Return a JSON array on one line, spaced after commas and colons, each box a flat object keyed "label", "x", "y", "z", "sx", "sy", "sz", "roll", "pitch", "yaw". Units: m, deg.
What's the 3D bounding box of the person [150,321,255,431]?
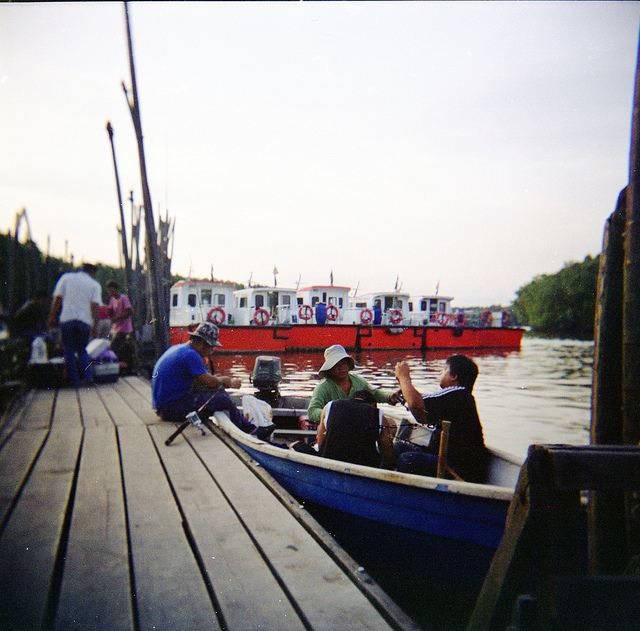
[{"label": "person", "x": -1.091, "y": 0.532, "z": 5.071, "sx": 0.614, "sy": 0.931, "sz": 1.076, "roll": 4, "pitch": 0, "yaw": -41}]

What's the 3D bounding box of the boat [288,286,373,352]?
[{"label": "boat", "x": 0.306, "y": 0.100, "z": 23.592, "sx": 3.581, "sy": 2.239, "sz": 2.082, "roll": -4, "pitch": 4, "yaw": -44}]

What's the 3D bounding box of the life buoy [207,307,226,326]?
[{"label": "life buoy", "x": -3.910, "y": 0.057, "z": 21.084, "sx": 0.168, "sy": 0.703, "sz": 0.622, "roll": -1, "pitch": -13, "yaw": 39}]

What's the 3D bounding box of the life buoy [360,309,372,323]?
[{"label": "life buoy", "x": 2.041, "y": 0.028, "z": 24.656, "sx": 0.471, "sy": 0.572, "sz": 0.196, "roll": 9, "pitch": -5, "yaw": -38}]

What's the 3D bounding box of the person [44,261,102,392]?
[{"label": "person", "x": -3.086, "y": 0.131, "z": 7.097, "sx": 0.555, "sy": 1.507, "sz": 0.887, "roll": 3, "pitch": 0, "yaw": -23}]

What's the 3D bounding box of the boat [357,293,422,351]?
[{"label": "boat", "x": 3.086, "y": 0.483, "z": 25.619, "sx": 2.905, "sy": 2.722, "sz": 3.235, "roll": 0, "pitch": 2, "yaw": -15}]

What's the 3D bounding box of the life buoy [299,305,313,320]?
[{"label": "life buoy", "x": -0.574, "y": -0.090, "z": 22.563, "sx": 0.462, "sy": 0.573, "sz": 0.147, "roll": 1, "pitch": -5, "yaw": -32}]

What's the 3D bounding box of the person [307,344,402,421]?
[{"label": "person", "x": 0.487, "y": 0.887, "z": 7.974, "sx": 0.871, "sy": 1.429, "sz": 0.742, "roll": -12, "pitch": 8, "yaw": -40}]

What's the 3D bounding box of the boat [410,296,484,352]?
[{"label": "boat", "x": 6.241, "y": 0.508, "z": 27.329, "sx": 3.553, "sy": 2.339, "sz": 2.420, "roll": -1, "pitch": 4, "yaw": 0}]

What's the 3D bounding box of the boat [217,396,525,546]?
[{"label": "boat", "x": 0.061, "y": 0.931, "z": 3.564, "sx": 0.834, "sy": 0.480, "sz": 2.288, "roll": 6, "pitch": 2, "yaw": -31}]

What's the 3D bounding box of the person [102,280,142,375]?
[{"label": "person", "x": -3.300, "y": 0.229, "z": 9.429, "sx": 0.625, "sy": 1.502, "sz": 1.042, "roll": 4, "pitch": 0, "yaw": -23}]

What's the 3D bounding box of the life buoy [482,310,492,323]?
[{"label": "life buoy", "x": 8.642, "y": 0.058, "z": 29.070, "sx": 0.165, "sy": 0.598, "sz": 0.500, "roll": 1, "pitch": 0, "yaw": 39}]

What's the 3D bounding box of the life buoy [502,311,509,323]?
[{"label": "life buoy", "x": 9.750, "y": 0.116, "z": 29.556, "sx": 0.326, "sy": 0.535, "sz": 0.120, "roll": 9, "pitch": 6, "yaw": 42}]
